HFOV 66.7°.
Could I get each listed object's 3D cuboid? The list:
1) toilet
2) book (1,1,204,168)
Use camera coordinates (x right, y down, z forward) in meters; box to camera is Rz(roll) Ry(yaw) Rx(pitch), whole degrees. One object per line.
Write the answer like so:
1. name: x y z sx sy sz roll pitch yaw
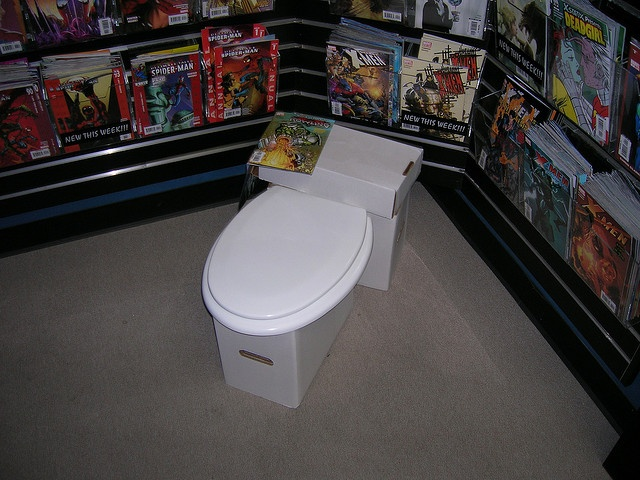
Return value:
1. toilet: -0.039 0.081 1.916 0.583 0.642 0.952 16 49 21
2. book: -0.829 -0.596 1.810 0.459 0.446 0.158 -18 46 -21
